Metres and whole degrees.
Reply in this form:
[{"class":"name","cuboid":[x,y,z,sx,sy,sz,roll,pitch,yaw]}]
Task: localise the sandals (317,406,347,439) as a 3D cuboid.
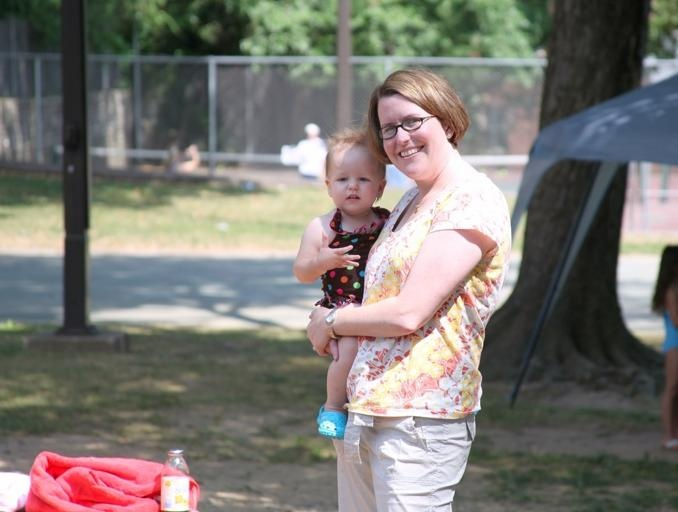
[{"class":"sandals","cuboid":[-0.041,1.009,9.361,0.153,0.158,0.183,2,-5,1]}]
